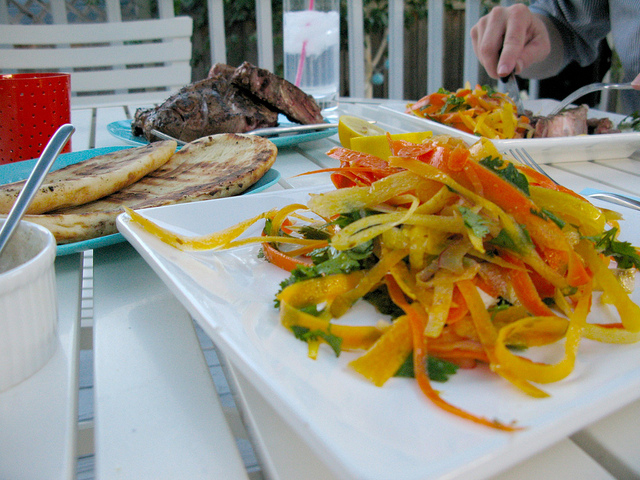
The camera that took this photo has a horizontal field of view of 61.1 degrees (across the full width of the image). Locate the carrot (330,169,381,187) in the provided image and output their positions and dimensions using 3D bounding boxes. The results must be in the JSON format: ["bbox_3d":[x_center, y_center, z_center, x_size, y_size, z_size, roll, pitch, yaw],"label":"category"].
[{"bbox_3d":[0.047,-0.086,0.748,0.040,0.016,0.041,1,17,-5],"label":"carrot"}]

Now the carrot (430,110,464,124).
[{"bbox_3d":[0.364,-0.344,1.534,0.070,0.025,0.069,-3,20,-1],"label":"carrot"}]

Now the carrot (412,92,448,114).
[{"bbox_3d":[0.325,-0.404,1.619,0.080,0.027,0.072,6,40,37],"label":"carrot"}]

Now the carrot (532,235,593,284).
[{"bbox_3d":[0.279,0.029,0.623,0.062,0.052,0.028,41,83,23],"label":"carrot"}]

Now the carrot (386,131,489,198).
[{"bbox_3d":[0.142,-0.094,0.673,0.101,0.037,0.065,7,28,8],"label":"carrot"}]

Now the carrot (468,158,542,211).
[{"bbox_3d":[0.219,-0.063,0.648,0.089,0.013,0.018,42,56,16],"label":"carrot"}]

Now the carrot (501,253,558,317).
[{"bbox_3d":[0.242,0.046,0.628,0.045,0.016,0.078,-14,42,-8],"label":"carrot"}]
